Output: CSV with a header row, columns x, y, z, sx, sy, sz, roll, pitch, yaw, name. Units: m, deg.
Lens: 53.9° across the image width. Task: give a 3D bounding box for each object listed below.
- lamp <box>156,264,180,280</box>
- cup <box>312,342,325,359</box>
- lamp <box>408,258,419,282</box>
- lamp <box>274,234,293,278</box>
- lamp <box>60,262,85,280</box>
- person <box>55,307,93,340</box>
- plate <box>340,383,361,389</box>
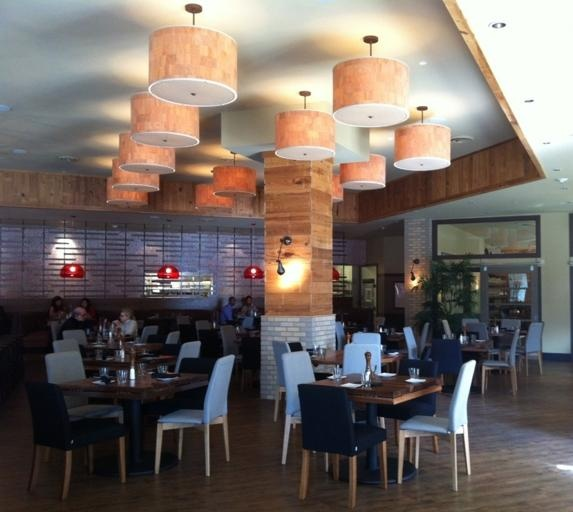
x,y,z,sx,sy,sz,roll,pitch,yaw,name
-2.974,0.415,14.146,0.542,0.253,0.472,1,-4,-12,lamp
0.415,1.282,7.507,0.175,0.189,0.236,0,-9,1,cup
3.140,0.349,13.947,0.257,0.583,0.139,0,-2,15,lamp
-0.054,-0.008,8.627,0.247,0.619,0.113,0,-2,17,lamp
-5.082,0.371,13.116,0.578,0.297,0.531,-1,-5,25,lamp
-4.156,1.336,11.040,0.623,0.885,0.482,2,7,-27,person
0.580,1.193,5.166,0.180,0.006,0.177,0,-1,-2,plate
